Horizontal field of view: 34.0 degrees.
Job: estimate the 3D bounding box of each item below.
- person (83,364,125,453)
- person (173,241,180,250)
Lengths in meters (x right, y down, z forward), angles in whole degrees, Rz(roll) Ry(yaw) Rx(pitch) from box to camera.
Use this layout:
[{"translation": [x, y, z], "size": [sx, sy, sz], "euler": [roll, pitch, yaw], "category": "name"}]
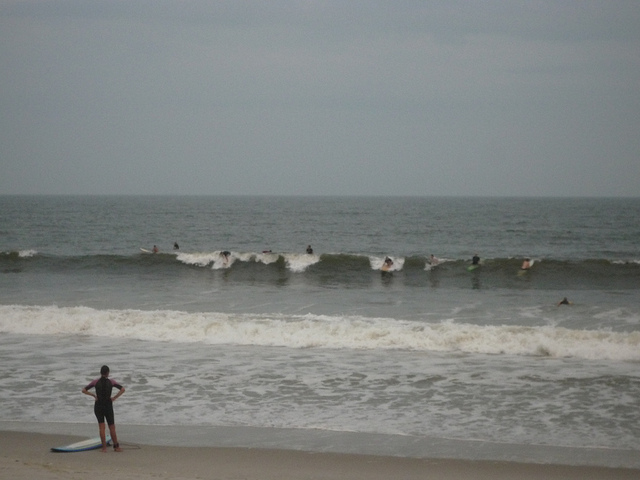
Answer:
[{"translation": [-6.448, 5.162, 31.953], "size": [1.182, 2.527, 0.917], "euler": [8, 13, 36], "category": "person"}, {"translation": [-9.593, 0.301, 71.357], "size": [0.381, 0.895, 0.312], "euler": [9, 23, 1], "category": "person"}]
